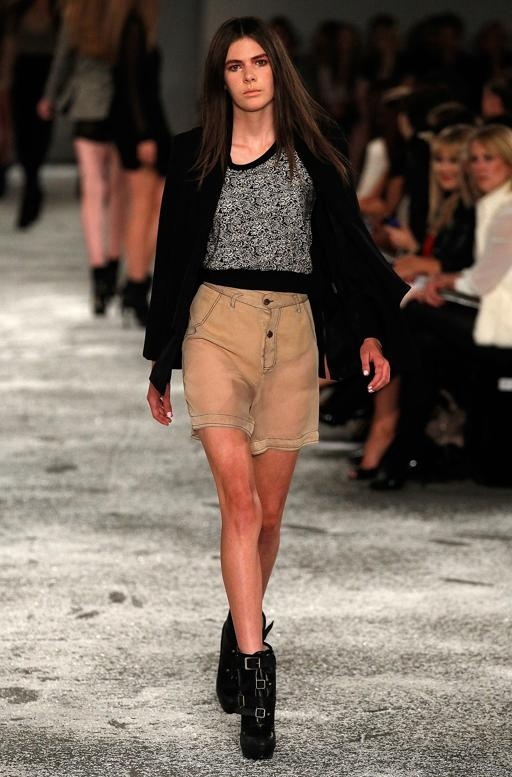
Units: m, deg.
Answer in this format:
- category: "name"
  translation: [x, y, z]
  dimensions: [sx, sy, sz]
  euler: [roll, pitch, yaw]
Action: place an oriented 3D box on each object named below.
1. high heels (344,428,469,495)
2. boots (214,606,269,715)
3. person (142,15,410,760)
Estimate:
- category: "high heels"
  translation: [0.703, 0.371, 4.276]
  dimensions: [0.647, 0.215, 0.197]
  euler: [-2, 4, -4]
- category: "boots"
  translation: [-0.042, 0.628, 2.084]
  dimensions: [0.103, 0.274, 0.124]
  euler: [3, -15, -9]
- category: "person"
  translation: [0.107, -0.053, 1.992]
  dimensions: [0.571, 1.556, 0.545]
  euler: [-5, 11, -28]
